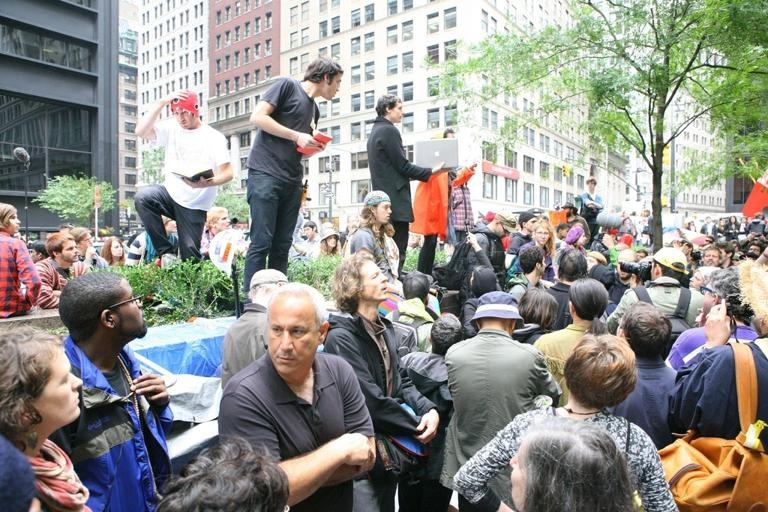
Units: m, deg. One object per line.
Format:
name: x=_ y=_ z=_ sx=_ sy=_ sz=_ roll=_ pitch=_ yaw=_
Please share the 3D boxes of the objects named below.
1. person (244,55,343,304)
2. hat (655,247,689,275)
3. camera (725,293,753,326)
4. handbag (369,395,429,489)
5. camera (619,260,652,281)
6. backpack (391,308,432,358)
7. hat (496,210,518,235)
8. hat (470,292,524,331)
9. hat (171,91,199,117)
person: x=-1.136 y=-0.970 z=7.373 sx=0.967 sy=2.255 sz=0.956 roll=3 pitch=1 yaw=-19
hat: x=3.656 y=0.011 z=8.061 sx=0.315 sy=0.217 sz=0.417 roll=12 pitch=19 yaw=-12
camera: x=3.230 y=0.460 z=5.795 sx=0.239 sy=0.128 sz=0.280 roll=-20 pitch=31 yaw=-28
handbag: x=0.010 y=1.739 z=5.847 sx=0.677 sy=0.632 sz=0.528 roll=-1 pitch=6 yaw=-11
camera: x=3.544 y=0.183 z=8.805 sx=0.314 sy=0.181 sz=0.290 roll=6 pitch=2 yaw=7
backpack: x=0.294 y=0.835 z=6.944 sx=0.448 sy=0.430 sz=0.631 roll=3 pitch=1 yaw=0
hat: x=2.027 y=-0.576 z=10.380 sx=0.301 sy=0.324 sz=0.373 roll=-22 pitch=-2 yaw=-16
hat: x=1.167 y=0.579 z=6.482 sx=0.425 sy=0.230 sz=0.571 roll=-1 pitch=-12 yaw=8
hat: x=-2.526 y=-1.965 z=8.041 sx=0.375 sy=0.288 sz=0.277 roll=-8 pitch=14 yaw=-8
